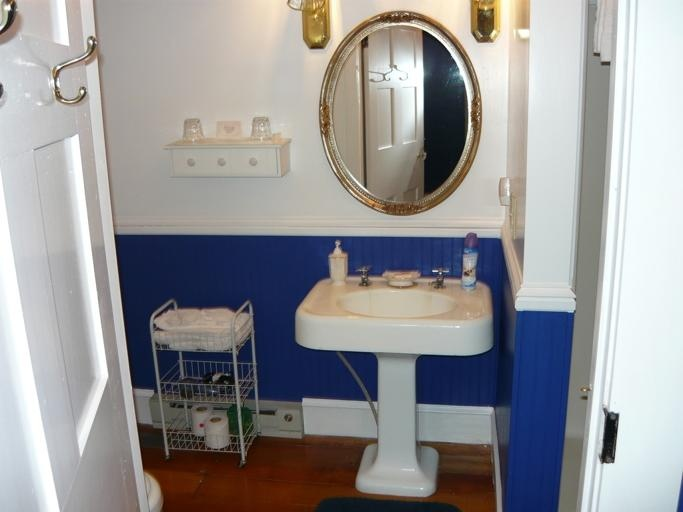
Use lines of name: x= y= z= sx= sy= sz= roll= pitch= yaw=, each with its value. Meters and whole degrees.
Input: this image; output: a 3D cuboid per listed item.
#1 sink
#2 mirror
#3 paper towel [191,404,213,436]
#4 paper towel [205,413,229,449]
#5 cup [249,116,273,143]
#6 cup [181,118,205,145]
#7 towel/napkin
sink: x=0.241 y=0.293 z=2.587 sx=0.806 sy=0.256 sz=0.509 roll=-1 pitch=12 yaw=11
mirror: x=0.286 y=-0.679 z=2.677 sx=0.719 sy=1.039 sz=0.068 roll=3 pitch=11 yaw=9
paper towel: x=-0.707 y=0.825 z=3.045 sx=0.113 sy=0.144 sz=0.128 roll=5 pitch=27 yaw=7
paper towel: x=-0.615 y=0.882 z=3.015 sx=0.129 sy=0.161 sz=0.142 roll=-4 pitch=31 yaw=-8
cup: x=-0.369 y=-0.581 z=2.733 sx=0.092 sy=0.109 sz=0.064 roll=-4 pitch=12 yaw=-9
cup: x=-0.689 y=-0.582 z=2.819 sx=0.094 sy=0.128 sz=0.110 roll=2 pitch=24 yaw=1
towel/napkin: x=-0.659 y=0.337 z=2.852 sx=0.276 sy=0.170 sz=0.261 roll=4 pitch=12 yaw=6
